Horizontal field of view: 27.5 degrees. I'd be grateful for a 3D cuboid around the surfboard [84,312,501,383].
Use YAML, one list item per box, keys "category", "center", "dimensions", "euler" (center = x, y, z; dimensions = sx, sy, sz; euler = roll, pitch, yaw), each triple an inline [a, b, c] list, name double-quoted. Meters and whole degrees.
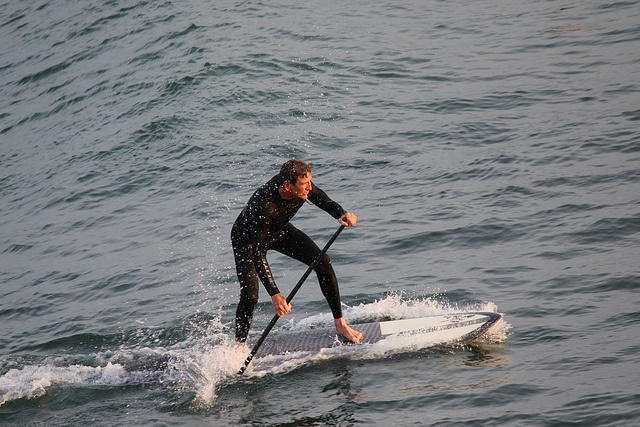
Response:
- category: "surfboard"
  center: [-0.268, 2.981, 28.546]
  dimensions: [6.312, 0.355, 0.875]
  euler: [-7, 14, 6]
